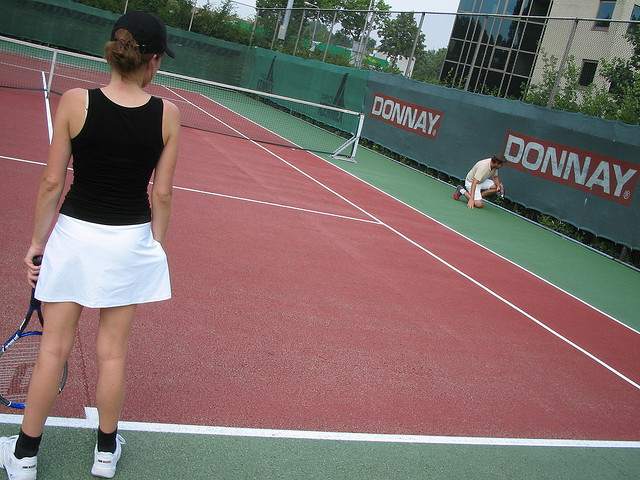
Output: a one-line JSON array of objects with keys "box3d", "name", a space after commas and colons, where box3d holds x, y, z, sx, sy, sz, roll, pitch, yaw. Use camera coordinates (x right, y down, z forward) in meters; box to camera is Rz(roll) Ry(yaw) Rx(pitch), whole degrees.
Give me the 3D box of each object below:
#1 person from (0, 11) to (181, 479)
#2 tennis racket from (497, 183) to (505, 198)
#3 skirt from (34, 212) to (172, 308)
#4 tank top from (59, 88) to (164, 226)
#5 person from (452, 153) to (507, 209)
[{"box3d": [-1.197, 0.097, 2.423, 0.784, 2.537, 0.467, 0, 19, -38], "name": "person"}, {"box3d": [4.809, -1.322, 12.049, 0.112, 0.412, 0.154, 4, -12, 6], "name": "tennis racket"}, {"box3d": [-1.153, 0.102, 2.516, 0.652, 0.486, 0.417, 5, 2, -12], "name": "skirt"}, {"box3d": [-1.056, -0.404, 2.419, 0.459, 0.658, 0.359, 10, -19, -28], "name": "tank top"}, {"box3d": [4.257, -1.588, 12.014, 1.096, 1.622, 1.074, 0, 31, -1], "name": "person"}]
